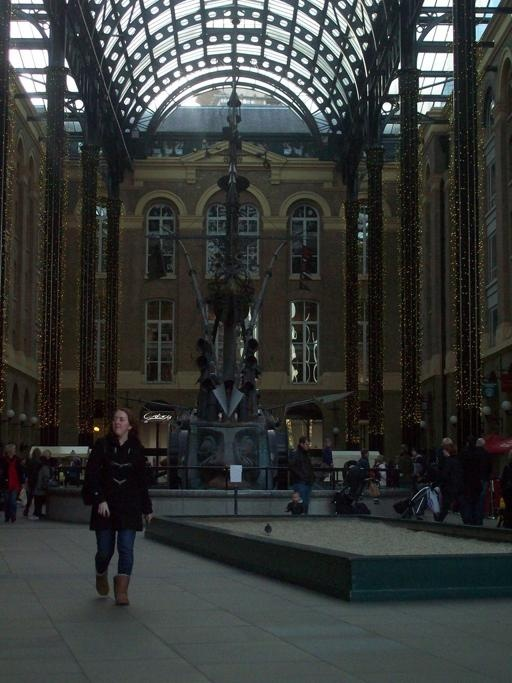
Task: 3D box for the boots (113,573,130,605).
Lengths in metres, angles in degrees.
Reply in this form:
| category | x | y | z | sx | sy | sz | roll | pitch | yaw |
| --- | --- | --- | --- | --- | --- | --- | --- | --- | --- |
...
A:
| category | x | y | z | sx | sy | sz | roll | pitch | yaw |
| --- | --- | --- | --- | --- | --- | --- | --- | --- | --- |
| boots | -0.995 | 1.846 | 7.593 | 0.106 | 0.211 | 0.215 | 1 | -8 | -8 |

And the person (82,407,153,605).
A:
| category | x | y | z | sx | sy | sz | roll | pitch | yaw |
| --- | --- | --- | --- | --- | --- | --- | --- | --- | --- |
| person | -1.088 | 1.249 | 7.906 | 0.519 | 1.451 | 0.454 | 0 | -8 | 0 |

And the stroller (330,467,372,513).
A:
| category | x | y | z | sx | sy | sz | roll | pitch | yaw |
| --- | --- | --- | --- | --- | --- | --- | --- | --- | --- |
| stroller | 1.816 | 2.828 | 19.431 | 0.659 | 1.218 | 0.781 | -5 | -7 | 40 |
